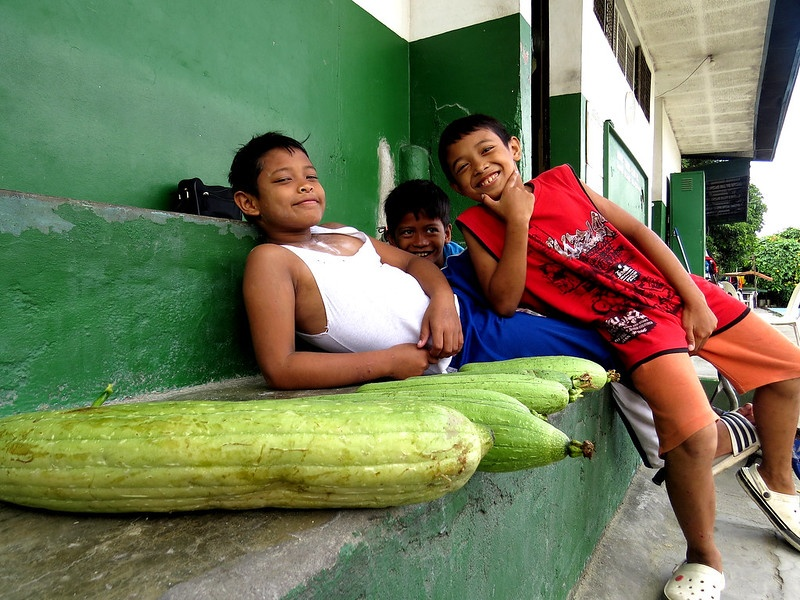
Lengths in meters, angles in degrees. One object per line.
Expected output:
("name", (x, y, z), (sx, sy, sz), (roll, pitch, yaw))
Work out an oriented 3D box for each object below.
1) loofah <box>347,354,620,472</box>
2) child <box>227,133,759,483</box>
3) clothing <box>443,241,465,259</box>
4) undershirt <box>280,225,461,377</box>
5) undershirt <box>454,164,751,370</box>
("loofah", (0.255, 0.272, 1.534), (0.450, 0.119, 0.447), (4, 19, 13))
("child", (0.320, -0.065, 2.357), (2.029, 1.308, 0.920), (1, 1, 1))
("clothing", (0.298, -0.281, 3.033), (0.099, 0.049, 0.135), (-5, 11, 19))
("undershirt", (-0.087, 0.003, 2.190), (0.616, 0.288, 0.443), (24, 23, 9))
("undershirt", (0.804, -0.145, 2.397), (0.641, 1.156, 0.316), (-45, -11, 2))
